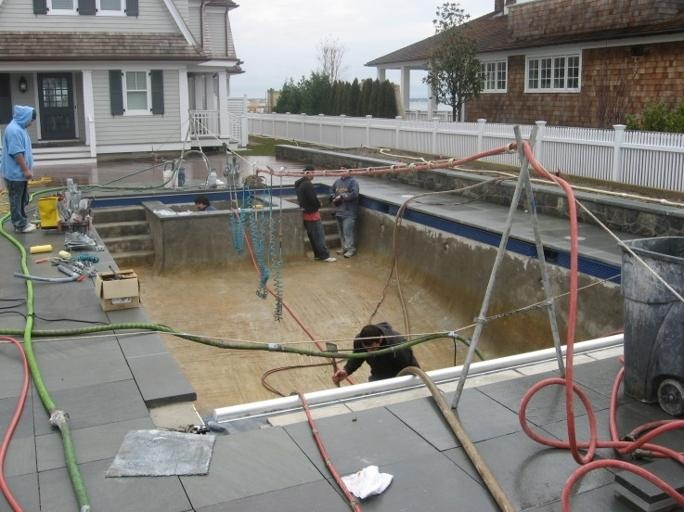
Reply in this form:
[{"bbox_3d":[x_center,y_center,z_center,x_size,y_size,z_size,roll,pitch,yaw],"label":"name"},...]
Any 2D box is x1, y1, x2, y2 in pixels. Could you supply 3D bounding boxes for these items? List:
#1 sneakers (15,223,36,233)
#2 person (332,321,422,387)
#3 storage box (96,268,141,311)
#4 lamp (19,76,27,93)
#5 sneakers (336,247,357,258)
[{"bbox_3d":[-5.932,-0.563,11.370,0.282,0.127,0.154,-10,21,-29],"label":"sneakers"},{"bbox_3d":[0.452,1.239,7.664,0.733,0.965,0.931,5,18,34],"label":"person"},{"bbox_3d":[-2.979,0.448,8.118,0.561,0.428,0.453,-1,-14,-12],"label":"storage box"},{"bbox_3d":[-11.509,-6.216,21.849,0.350,0.582,0.205,-13,16,-28],"label":"lamp"},{"bbox_3d":[0.102,-0.094,15.563,0.586,0.276,0.204,9,11,12],"label":"sneakers"}]
